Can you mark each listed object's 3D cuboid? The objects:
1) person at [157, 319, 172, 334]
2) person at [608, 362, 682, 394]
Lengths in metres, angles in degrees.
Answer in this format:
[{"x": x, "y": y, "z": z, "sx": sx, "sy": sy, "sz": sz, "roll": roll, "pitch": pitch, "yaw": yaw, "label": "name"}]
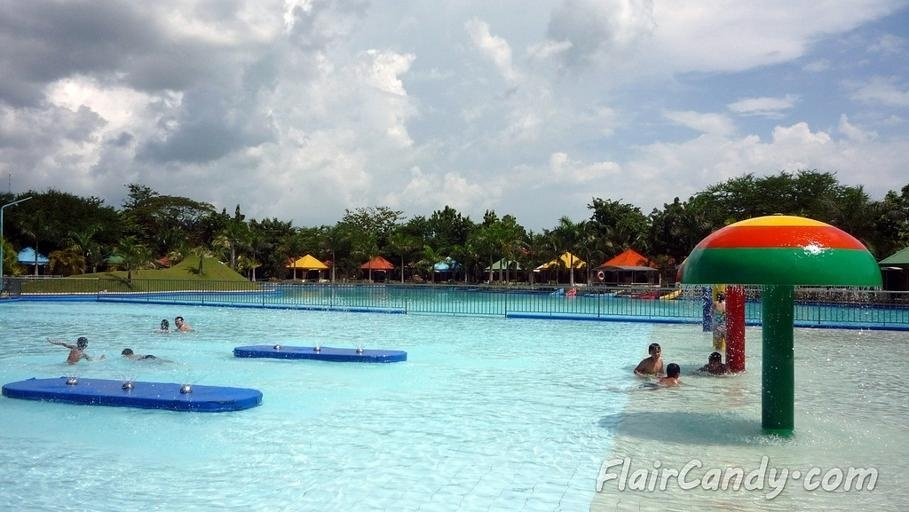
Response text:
[{"x": -11.776, "y": 2.842, "z": 25.669, "sx": 0.681, "sy": 0.432, "sz": 0.973, "roll": 1, "pitch": -10, "yaw": -13, "label": "person"}, {"x": 5.376, "y": 3.200, "z": 16.937, "sx": 2.224, "sy": 0.649, "sz": 0.817, "roll": -2, "pitch": 7, "yaw": -24, "label": "person"}]
